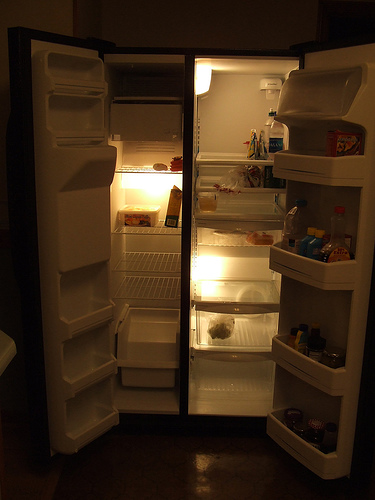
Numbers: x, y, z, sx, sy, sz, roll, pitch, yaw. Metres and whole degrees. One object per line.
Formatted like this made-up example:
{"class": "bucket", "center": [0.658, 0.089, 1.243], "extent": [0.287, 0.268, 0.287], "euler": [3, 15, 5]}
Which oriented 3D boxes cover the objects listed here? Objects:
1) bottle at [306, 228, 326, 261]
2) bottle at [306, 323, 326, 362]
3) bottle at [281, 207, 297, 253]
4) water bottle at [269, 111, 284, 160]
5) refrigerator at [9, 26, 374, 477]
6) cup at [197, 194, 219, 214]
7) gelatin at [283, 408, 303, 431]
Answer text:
{"class": "bottle", "center": [0.445, -0.018, 1.386], "extent": [0.065, 0.099, 0.105], "euler": [3, 9, 13]}
{"class": "bottle", "center": [0.494, 0.364, 1.538], "extent": [0.060, 0.150, 0.063], "euler": [-1, -3, 0]}
{"class": "bottle", "center": [0.401, -0.086, 1.593], "extent": [0.055, 0.167, 0.226], "euler": [3, 9, 14]}
{"class": "water bottle", "center": [0.437, -0.548, 2.031], "extent": [0.079, 0.302, 0.116], "euler": [3, -12, 4]}
{"class": "refrigerator", "center": [0.100, 0.017, 1.794], "extent": [1.293, 1.775, 1.193], "euler": [4, 9, 19]}
{"class": "cup", "center": [0.104, -0.221, 1.931], "extent": [0.083, 0.074, 0.080], "euler": [-1, 10, 0]}
{"class": "gelatin", "center": [0.445, 0.717, 1.699], "extent": [0.056, 0.068, 0.069], "euler": [0, 5, 1]}
